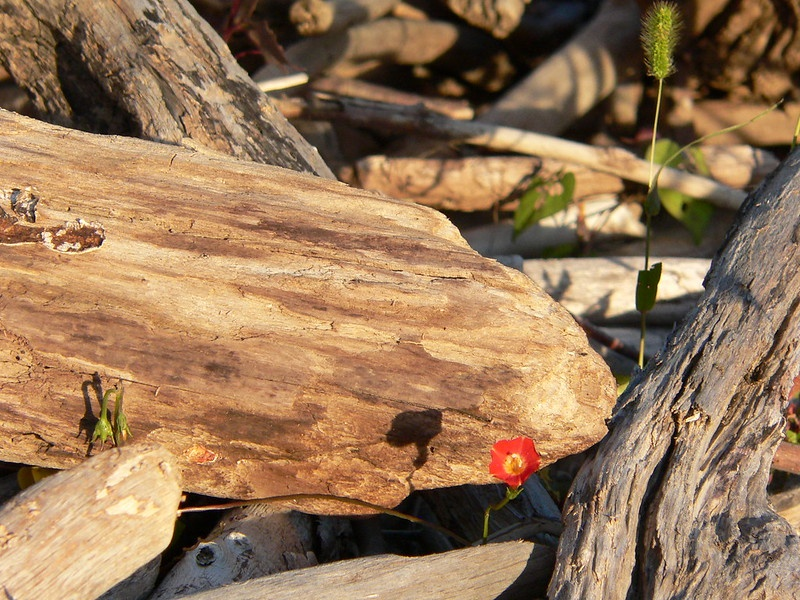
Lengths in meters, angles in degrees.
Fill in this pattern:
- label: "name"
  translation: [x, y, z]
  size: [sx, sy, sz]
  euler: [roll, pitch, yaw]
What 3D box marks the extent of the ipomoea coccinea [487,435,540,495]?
- label: "ipomoea coccinea"
  translation: [0.436, 0.603, 3.382]
  size: [0.178, 0.149, 0.185]
  euler: [6, 51, 4]
